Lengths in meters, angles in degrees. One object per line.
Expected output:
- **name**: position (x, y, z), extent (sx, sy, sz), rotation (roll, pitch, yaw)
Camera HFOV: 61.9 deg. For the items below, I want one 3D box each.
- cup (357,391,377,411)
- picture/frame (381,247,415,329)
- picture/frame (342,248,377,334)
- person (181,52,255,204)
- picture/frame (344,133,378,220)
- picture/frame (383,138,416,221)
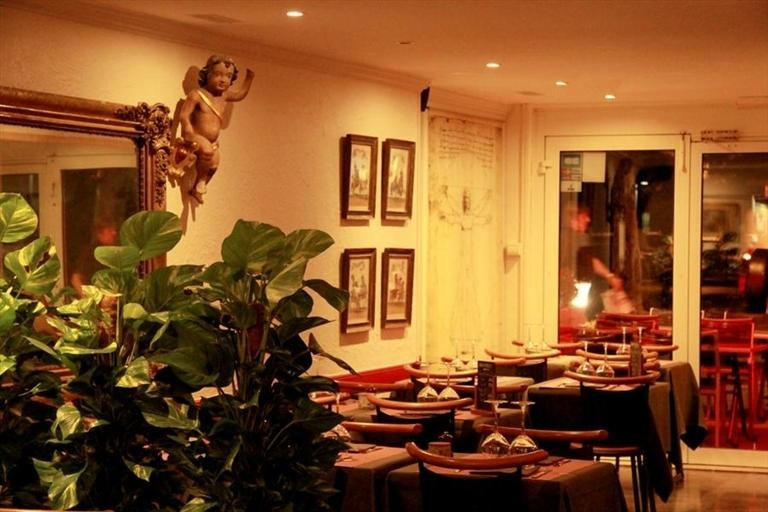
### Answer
- **cup**: position (-0.126, 1.179, 5.205), extent (0.170, 0.151, 0.173), rotation (1, -1, 0)
- **picture/frame**: position (0.141, 0.353, 7.059), extent (0.457, 0.684, 0.053), rotation (1, 1, -44)
- **picture/frame**: position (-0.265, 0.368, 6.701), extent (0.120, 0.685, 0.498), rotation (3, 1, 38)
- **person**: position (-1.404, -1.030, 5.340), extent (0.321, 0.785, 0.592), rotation (3, 1, 39)
- **picture/frame**: position (-0.254, -0.799, 6.611), extent (0.134, 0.667, 0.443), rotation (3, 1, 38)
- **picture/frame**: position (0.150, -0.821, 7.014), extent (0.096, 0.696, 0.458), rotation (3, 1, 40)
